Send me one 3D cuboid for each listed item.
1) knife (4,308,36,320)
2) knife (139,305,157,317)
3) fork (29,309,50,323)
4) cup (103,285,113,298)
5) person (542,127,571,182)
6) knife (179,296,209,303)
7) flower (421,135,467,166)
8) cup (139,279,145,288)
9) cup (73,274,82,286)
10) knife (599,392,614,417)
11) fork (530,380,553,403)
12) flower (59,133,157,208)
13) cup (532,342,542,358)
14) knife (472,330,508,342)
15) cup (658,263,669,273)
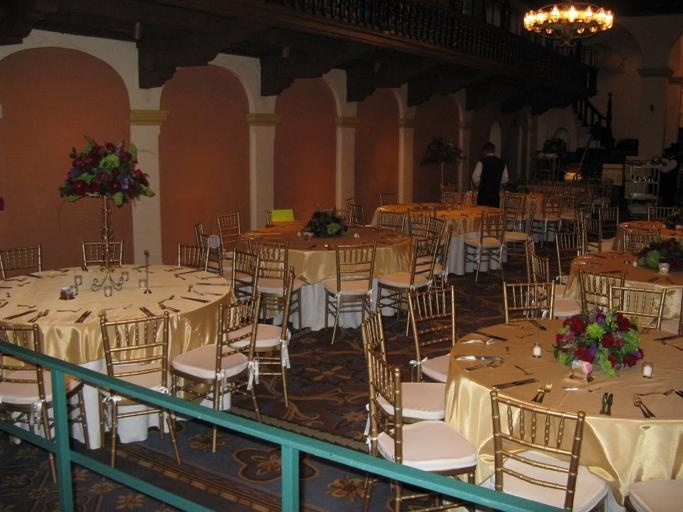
[{"bbox_3d":[-2.539,0.465,4.287,0.325,0.015,0.055,-6,-27,19],"label":"knife"},{"bbox_3d":[-1.577,0.454,4.387,0.062,0.017,0.229,-5,13,-25],"label":"knife"},{"bbox_3d":[-2.368,0.471,4.263,0.044,0.022,0.148,6,21,-3],"label":"fork"},{"bbox_3d":[-2.049,0.313,4.757,0.086,0.094,0.086,3,15,-1],"label":"cup"},{"bbox_3d":[7.326,-3.425,19.086,0.664,1.572,0.531,12,15,38],"label":"person"},{"bbox_3d":[-1.299,0.382,4.765,0.348,0.009,0.082,11,13,28],"label":"knife"},{"bbox_3d":[2.569,-2.749,14.057,0.978,0.834,1.735,0,3,9],"label":"flower"},{"bbox_3d":[-1.843,0.259,5.000,0.072,0.082,0.072,2,3,0],"label":"cup"},{"bbox_3d":[-2.446,0.227,5.020,0.084,0.103,0.087,2,4,0],"label":"cup"},{"bbox_3d":[1.488,0.837,3.048,0.076,0.130,0.032,1,-14,26],"label":"knife"},{"bbox_3d":[1.183,0.789,3.197,0.061,0.029,0.252,-3,12,28],"label":"fork"},{"bbox_3d":[-2.181,-0.763,4.937,0.922,0.579,0.920,-10,17,-41],"label":"flower"},{"bbox_3d":[1.320,0.655,3.717,0.065,0.086,0.083,-1,6,8],"label":"cup"},{"bbox_3d":[1.126,0.607,4.078,0.068,0.035,0.285,5,-2,-30],"label":"knife"},{"bbox_3d":[3.385,0.133,5.693,0.098,0.067,0.076,-5,5,-38],"label":"cup"}]
